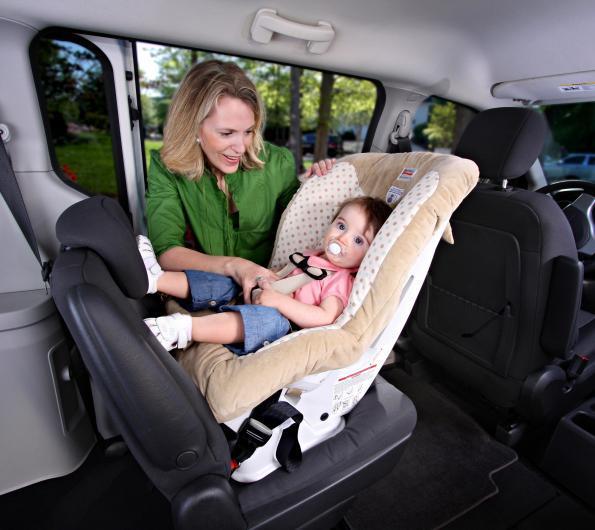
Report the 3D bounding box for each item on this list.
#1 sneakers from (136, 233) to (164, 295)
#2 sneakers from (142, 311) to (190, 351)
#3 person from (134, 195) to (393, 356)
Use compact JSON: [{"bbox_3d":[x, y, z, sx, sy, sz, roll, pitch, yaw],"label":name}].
[{"bbox_3d":[-0.527,-0.011,1.675,0.073,0.224,0.123,-8,1,0],"label":"sneakers"},{"bbox_3d":[-0.420,0.206,1.510,0.122,0.060,0.103,-4,20,-39],"label":"sneakers"},{"bbox_3d":[-0.161,-0.065,1.739,0.787,0.530,0.531,4,16,-26],"label":"person"}]
